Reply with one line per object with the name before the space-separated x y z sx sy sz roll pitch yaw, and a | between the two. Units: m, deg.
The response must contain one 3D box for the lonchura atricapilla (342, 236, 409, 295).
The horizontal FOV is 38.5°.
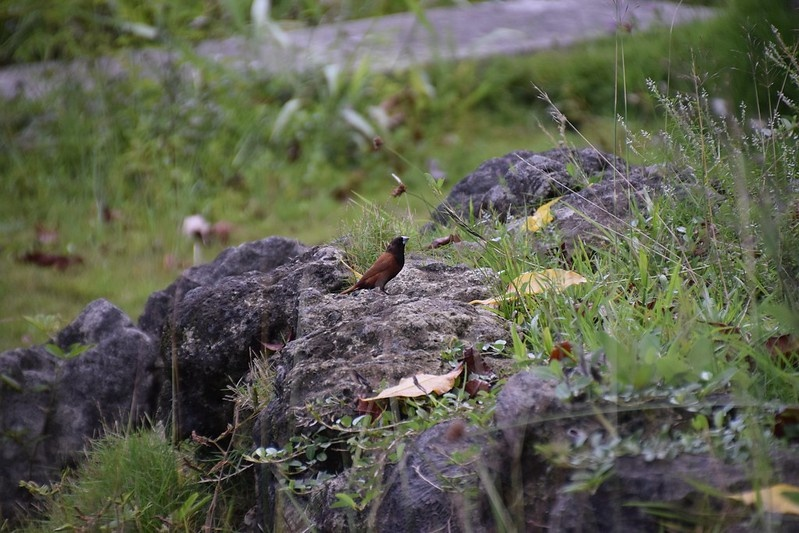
lonchura atricapilla | -0.089 -0.002 4.101 0.264 0.213 0.090 -3 7 7
